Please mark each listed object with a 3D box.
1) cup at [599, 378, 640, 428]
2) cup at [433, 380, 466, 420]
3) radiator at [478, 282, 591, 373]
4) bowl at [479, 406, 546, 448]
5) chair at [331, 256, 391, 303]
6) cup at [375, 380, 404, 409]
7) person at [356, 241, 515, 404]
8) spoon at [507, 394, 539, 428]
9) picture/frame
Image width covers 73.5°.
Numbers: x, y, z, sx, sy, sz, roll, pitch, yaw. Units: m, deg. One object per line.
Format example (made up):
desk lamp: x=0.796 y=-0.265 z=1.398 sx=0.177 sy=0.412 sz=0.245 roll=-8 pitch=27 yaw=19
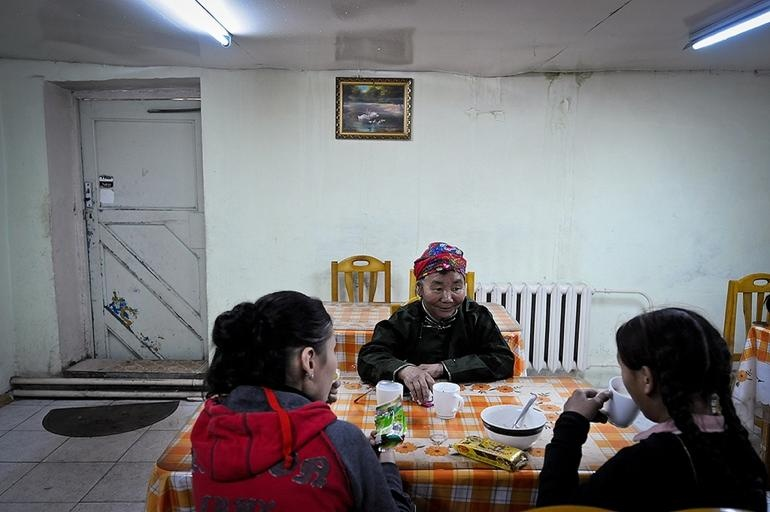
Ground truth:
cup: x=1.046 y=0.667 z=2.356 sx=0.223 sy=0.163 sz=0.140 roll=9 pitch=19 yaw=-6
cup: x=0.318 y=0.722 z=2.495 sx=0.128 sy=0.135 sz=0.191 roll=4 pitch=-2 yaw=-18
radiator: x=1.214 y=0.545 z=4.141 sx=0.853 sy=0.704 sz=0.146 roll=-1 pitch=3 yaw=-2
bowl: x=0.588 y=0.807 z=2.368 sx=0.276 sy=0.115 sz=0.266 roll=-3 pitch=0 yaw=0
chair: x=-0.202 y=0.200 z=4.701 sx=0.452 sy=0.751 sz=0.467 roll=0 pitch=1 yaw=-1
cup: x=0.031 y=0.664 z=2.480 sx=0.118 sy=0.103 sz=0.123 roll=0 pitch=0 yaw=0
person: x=0.290 y=0.572 z=3.029 sx=0.919 sy=1.182 sz=0.683 roll=0 pitch=12 yaw=-9
spoon: x=0.663 y=0.747 z=2.464 sx=0.030 sy=0.137 sz=0.024 roll=37 pitch=-9 yaw=-7
picture/frame: x=-0.086 y=-1.318 z=4.521 sx=0.581 sy=0.410 sz=0.027 roll=0 pitch=6 yaw=-2
